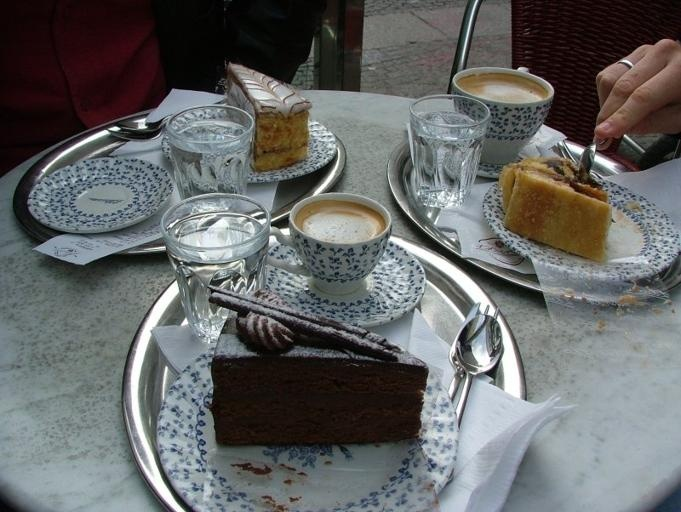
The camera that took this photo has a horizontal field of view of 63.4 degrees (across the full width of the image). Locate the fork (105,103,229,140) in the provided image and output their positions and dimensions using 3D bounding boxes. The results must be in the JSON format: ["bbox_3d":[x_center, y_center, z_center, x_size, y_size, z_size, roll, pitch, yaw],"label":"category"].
[{"bbox_3d":[-0.513,-0.395,1.571,0.295,0.043,0.057,-36,28,-31],"label":"fork"}]

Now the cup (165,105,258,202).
[{"bbox_3d":[-0.312,-0.248,1.387,0.216,0.188,0.236,5,40,-4],"label":"cup"}]

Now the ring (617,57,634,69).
[{"bbox_3d":[0.837,-0.565,1.615,0.050,0.013,0.048,13,34,-9],"label":"ring"}]

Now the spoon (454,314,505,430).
[{"bbox_3d":[0.241,0.185,0.976,0.058,0.026,0.240,12,46,15],"label":"spoon"}]

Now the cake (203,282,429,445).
[{"bbox_3d":[-0.022,0.195,0.935,0.332,0.198,0.238,6,28,8],"label":"cake"}]

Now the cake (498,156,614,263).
[{"bbox_3d":[0.476,-0.083,1.275,0.205,0.090,0.256,-27,47,-33],"label":"cake"}]

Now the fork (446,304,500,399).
[{"bbox_3d":[0.234,0.147,0.972,0.054,0.026,0.232,7,40,26],"label":"fork"}]
